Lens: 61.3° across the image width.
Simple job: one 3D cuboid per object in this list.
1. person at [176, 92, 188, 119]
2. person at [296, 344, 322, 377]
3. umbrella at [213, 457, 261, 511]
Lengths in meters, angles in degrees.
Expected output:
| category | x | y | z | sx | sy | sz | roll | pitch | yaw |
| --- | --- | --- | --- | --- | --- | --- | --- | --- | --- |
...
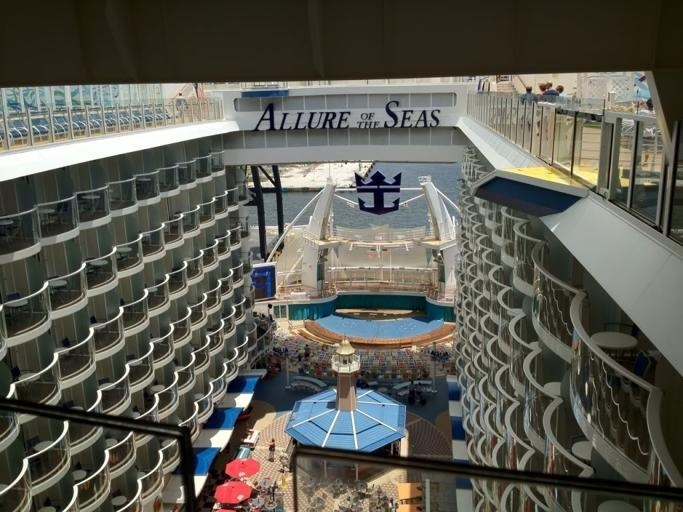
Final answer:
| category | x | y | z | sx | sy | sz | roll | pitch | yaw |
| --- | --- | --- | --- | --- | --- | --- | --- | --- | --- |
| person | -5.443 | -5.157 | 19.668 | 0.258 | 0.744 | 1.303 | -6 | 22 | -8 |
| person | -1.430 | 4.691 | 25.279 | 0.743 | 0.319 | 1.069 | 3 | 31 | 1 |
| umbrella | -3.039 | 6.702 | 16.823 | 1.101 | 1.159 | 1.121 | -19 | 50 | -19 |
